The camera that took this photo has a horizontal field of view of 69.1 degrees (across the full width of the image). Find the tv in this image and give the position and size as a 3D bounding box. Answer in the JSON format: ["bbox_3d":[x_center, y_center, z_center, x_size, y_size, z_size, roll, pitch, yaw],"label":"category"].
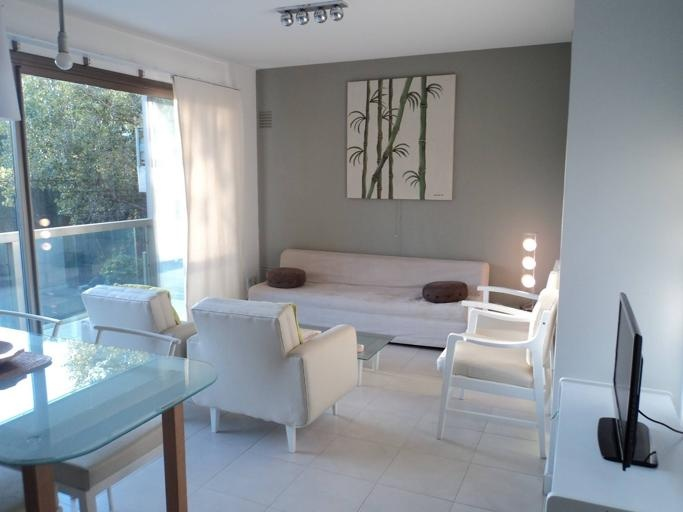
[{"bbox_3d":[1.365,0.591,2.345,0.177,0.477,0.629,-3,8,23],"label":"tv"}]

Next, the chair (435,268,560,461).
[{"bbox_3d":[1.121,0.693,3.945,1.019,1.363,1.784,2,4,23],"label":"chair"}]

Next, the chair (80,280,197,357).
[{"bbox_3d":[-1.496,0.446,3.662,0.710,0.707,0.558,4,10,19],"label":"chair"}]

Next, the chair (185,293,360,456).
[{"bbox_3d":[-0.507,0.618,3.630,1.020,1.109,1.001,3,6,27],"label":"chair"}]

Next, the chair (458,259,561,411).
[{"bbox_3d":[1.214,0.754,3.837,0.786,0.895,1.248,2,3,18],"label":"chair"}]
